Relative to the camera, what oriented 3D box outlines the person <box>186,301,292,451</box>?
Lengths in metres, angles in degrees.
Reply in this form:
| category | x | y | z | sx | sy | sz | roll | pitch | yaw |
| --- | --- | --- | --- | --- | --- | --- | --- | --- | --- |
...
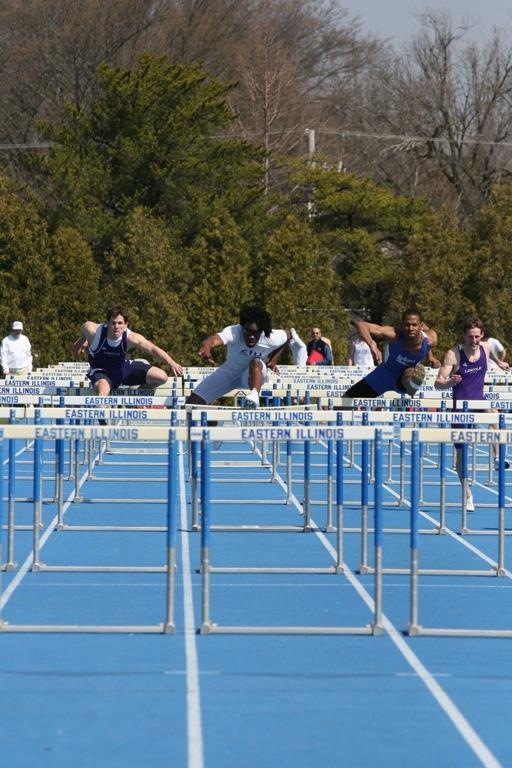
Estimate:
| category | x | y | z | sx | sy | sz | roll | pitch | yaw |
| --- | --- | --- | --- | --- | --- | --- | --- | --- | --- |
| person | -0.157 | -0.178 | 11.060 | 0.700 | 0.981 | 1.348 | 15 | -7 | -10 |

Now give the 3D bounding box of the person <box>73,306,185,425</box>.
| category | x | y | z | sx | sy | sz | roll | pitch | yaw |
| --- | --- | --- | --- | --- | --- | --- | --- | --- | --- |
| person | -1.199 | -0.314 | 11.538 | 0.576 | 0.675 | 0.970 | 0 | 12 | -13 |

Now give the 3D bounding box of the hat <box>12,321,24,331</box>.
| category | x | y | z | sx | sy | sz | roll | pitch | yaw |
| --- | --- | --- | --- | --- | --- | --- | --- | --- | --- |
| hat | -3.425 | -0.819 | 18.452 | 0.179 | 0.116 | 0.311 | 5 | 0 | -7 |

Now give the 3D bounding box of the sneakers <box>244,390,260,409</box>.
| category | x | y | z | sx | sy | sz | roll | pitch | yaw |
| --- | --- | --- | --- | --- | --- | --- | --- | --- | --- |
| sneakers | -0.032 | 0.117 | 9.468 | 0.063 | 0.099 | 0.200 | 2 | -14 | 3 |
